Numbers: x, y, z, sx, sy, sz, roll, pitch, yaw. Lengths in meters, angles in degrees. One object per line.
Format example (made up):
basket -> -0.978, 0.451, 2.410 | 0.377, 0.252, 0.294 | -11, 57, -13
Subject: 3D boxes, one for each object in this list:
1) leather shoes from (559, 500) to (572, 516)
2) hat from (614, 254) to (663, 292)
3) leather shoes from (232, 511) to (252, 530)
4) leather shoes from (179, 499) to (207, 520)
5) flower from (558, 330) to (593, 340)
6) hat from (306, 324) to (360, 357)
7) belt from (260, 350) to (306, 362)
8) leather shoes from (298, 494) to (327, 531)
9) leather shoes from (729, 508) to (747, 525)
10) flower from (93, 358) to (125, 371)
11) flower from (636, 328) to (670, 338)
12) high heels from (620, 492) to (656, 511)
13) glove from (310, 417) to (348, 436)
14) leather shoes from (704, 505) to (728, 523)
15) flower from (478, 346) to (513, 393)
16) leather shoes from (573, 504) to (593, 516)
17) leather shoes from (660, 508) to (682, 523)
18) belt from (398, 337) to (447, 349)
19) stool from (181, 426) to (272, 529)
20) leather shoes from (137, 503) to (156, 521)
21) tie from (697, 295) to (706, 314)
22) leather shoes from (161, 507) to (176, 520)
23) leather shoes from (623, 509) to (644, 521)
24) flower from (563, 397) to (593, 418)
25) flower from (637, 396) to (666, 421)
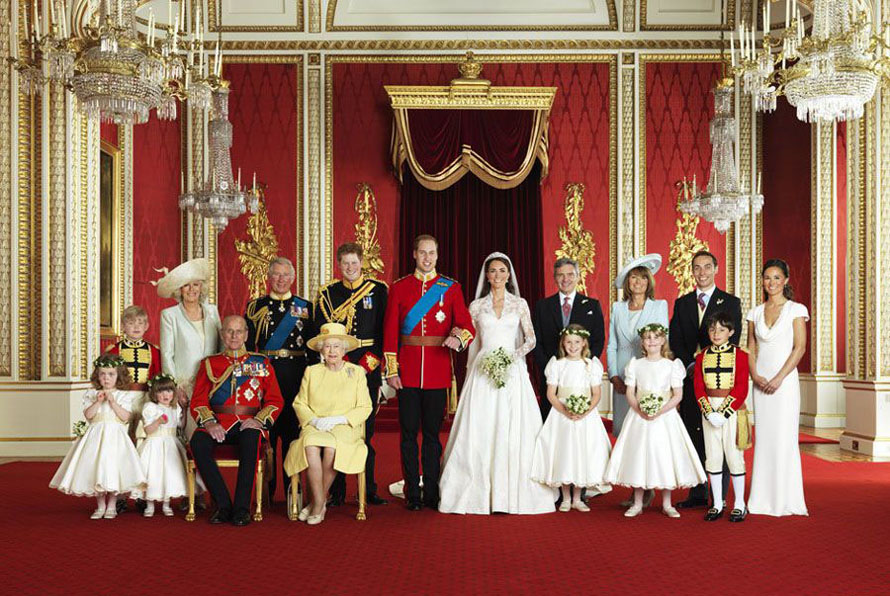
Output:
leather shoes -> 1.143, 1.938, 10.892 | 0.106, 0.126, 0.165 | 1, 2, 6
hat -> 1.895, -0.362, 11.567 | 0.122, 0.515, 0.519 | 25, 24, 30
leather shoes -> -1.808, 1.980, 10.496 | 0.185, 0.129, 0.146 | 0, 3, -20
leather shoes -> -2.329, 1.966, 10.895 | 0.184, 0.090, 0.237 | 4, -13, -34
flower -> 1.243, 0.324, 10.967 | 0.260, 0.105, 0.167 | 1, 2, -4
hat -> -1.015, 0.390, 10.900 | 0.510, 0.292, 0.387 | 0, 2, -16
belt -> -1.512, 0.541, 11.089 | 0.398, 0.100, 0.090 | 0, 3, -20
leather shoes -> -1.200, 1.922, 10.589 | 0.242, 0.246, 0.301 | 1, 2, -1
leather shoes -> 2.699, 1.979, 10.633 | 0.173, 0.120, 0.171 | 1, 2, 1
flower -> -3.111, 0.607, 10.839 | 0.256, 0.121, 0.117 | 1, 2, -11
flower -> 1.993, 0.314, 10.958 | 0.306, 0.119, 0.248 | 1, 2, -4
high heels -> 1.890, 1.942, 11.151 | 0.137, 0.163, 0.417 | -3, -13, 18
glove -> -1.039, 1.160, 10.620 | 0.317, 0.131, 0.084 | 1, 2, -12
leather shoes -> 2.508, 1.999, 10.719 | 0.092, 0.111, 0.277 | -8, -14, 33
flower -> 0.493, 0.637, 10.926 | 0.321, 0.261, 0.343 | 6, 27, 5
leather shoes -> 1.294, 1.967, 10.904 | 0.065, 0.089, 0.200 | -7, 1, -39
leather shoes -> 2.117, 1.976, 10.770 | 0.172, 0.090, 0.273 | 1, 2, 6
belt -> -0.197, 0.419, 11.024 | 0.388, 0.108, 0.068 | 1, 2, -1
stool -> -2.045, 1.446, 10.867 | 0.714, 1.260, 1.019 | 2, -6, -19
leather shoes -> -2.753, 1.967, 10.789 | 0.109, 0.139, 0.349 | 1, -10, -10
tie -> 2.486, 0.049, 11.203 | 0.030, 0.133, 0.095 | 12, -18, -39
leather shoes -> -2.547, 1.956, 10.781 | 0.111, 0.106, 0.199 | 0, 2, -15
leather shoes -> 1.761, 1.972, 10.764 | 0.175, 0.093, 0.176 | 2, 2, 9
flower -> 1.245, 1.007, 10.780 | 0.179, 0.191, 0.069 | -3, -1, 10
flower -> 1.935, 1.007, 10.732 | 0.246, 0.217, 0.124 | 1, 2, 9
